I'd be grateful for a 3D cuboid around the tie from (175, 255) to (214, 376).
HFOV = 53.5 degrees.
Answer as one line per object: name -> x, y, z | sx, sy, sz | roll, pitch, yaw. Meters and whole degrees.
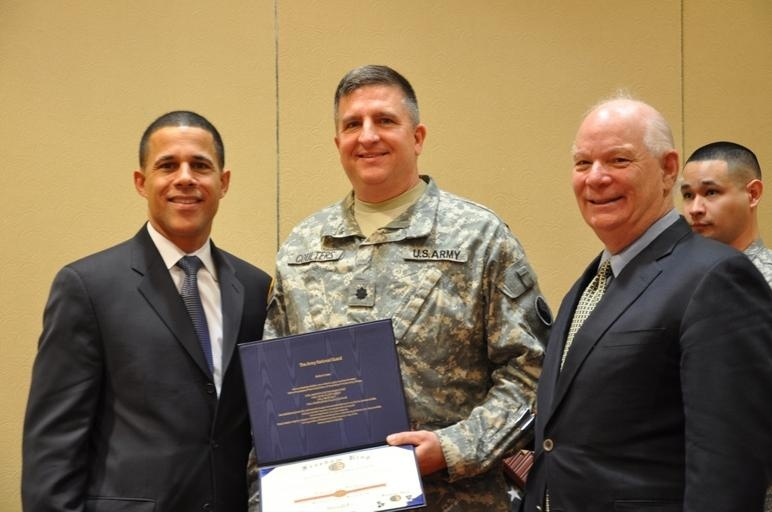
tie -> -0.813, 0.248, 3.297 | 0.169, 0.489, 0.061 | -1, -34, -24
